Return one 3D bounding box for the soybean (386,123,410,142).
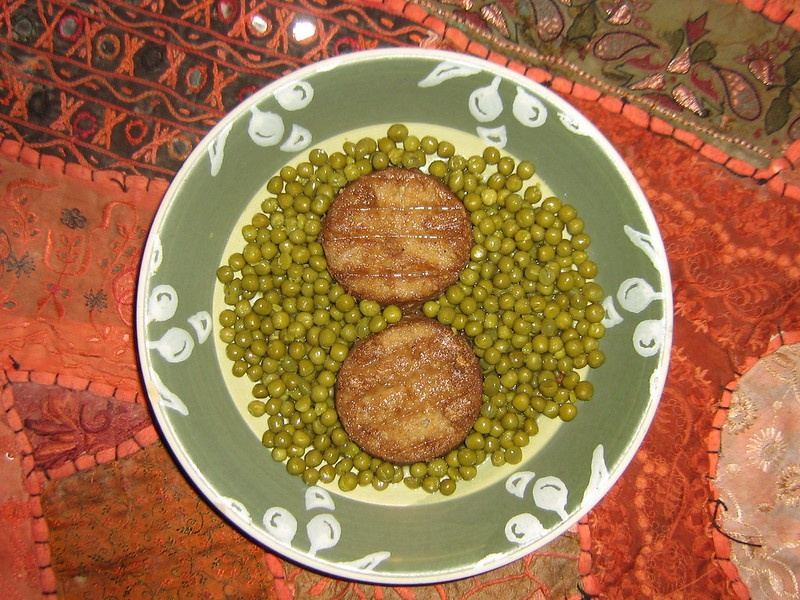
[{"bbox_3d":[-0.013,-0.747,3.660,0.076,0.065,0.067,-18,58,0],"label":"soybean"}]
